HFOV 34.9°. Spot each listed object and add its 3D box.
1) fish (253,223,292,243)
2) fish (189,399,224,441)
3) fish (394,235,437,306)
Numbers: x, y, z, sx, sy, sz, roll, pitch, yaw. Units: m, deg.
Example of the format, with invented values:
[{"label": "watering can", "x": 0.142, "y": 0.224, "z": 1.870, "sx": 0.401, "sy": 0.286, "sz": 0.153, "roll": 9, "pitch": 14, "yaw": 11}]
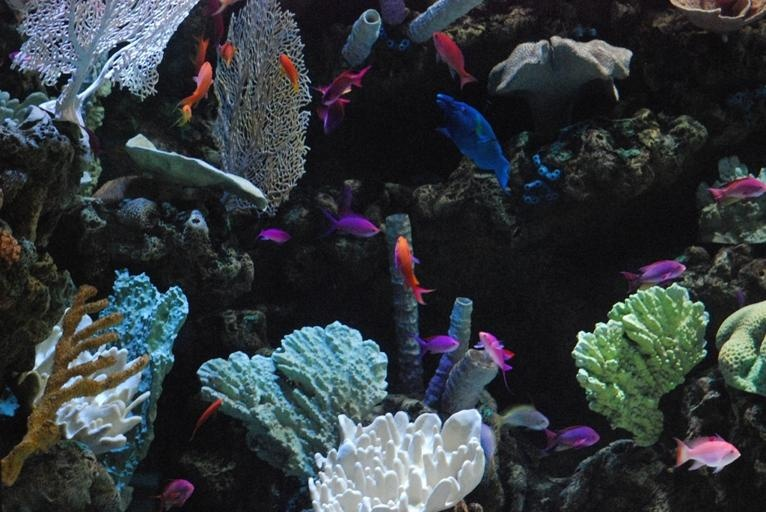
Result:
[{"label": "fish", "x": -1.161, "y": -0.237, "z": 12.516, "sx": 0.318, "sy": 0.160, "sz": 0.069, "roll": 9, "pitch": 37, "yaw": 25}, {"label": "fish", "x": -1.667, "y": 1.560, "z": 11.537, "sx": 0.065, "sy": 0.156, "sz": 0.416, "roll": 33, "pitch": 97, "yaw": 18}, {"label": "fish", "x": 0.294, "y": 0.121, "z": 12.229, "sx": 0.170, "sy": 0.250, "sz": 0.655, "roll": -14, "pitch": 82, "yaw": -38}]
